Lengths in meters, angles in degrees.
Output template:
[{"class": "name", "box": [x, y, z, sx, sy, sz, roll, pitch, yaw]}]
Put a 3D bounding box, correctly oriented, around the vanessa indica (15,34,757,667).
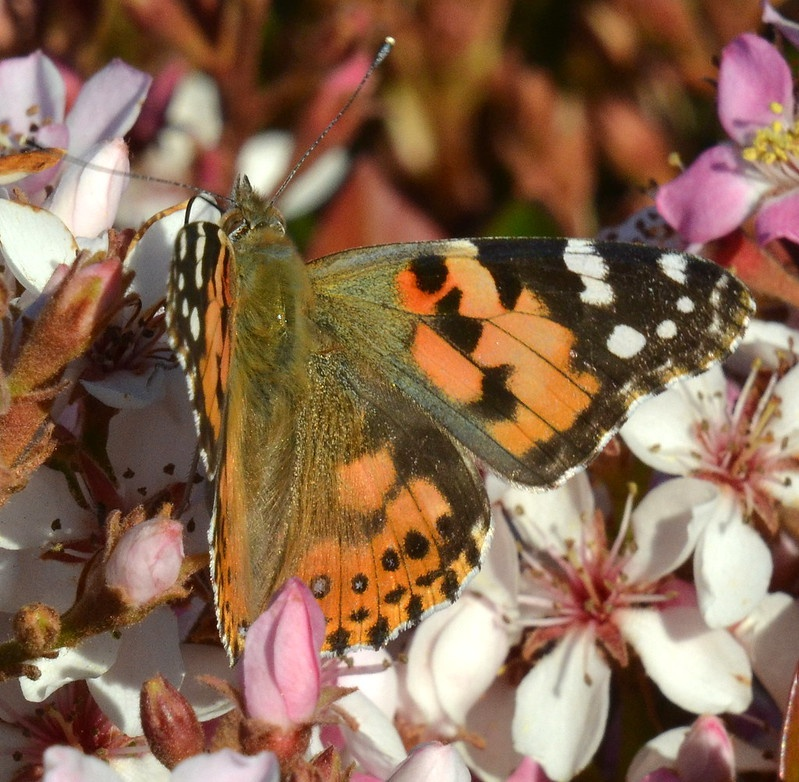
[{"class": "vanessa indica", "box": [-0.014, 0.040, 0.961, 0.244, 0.515, 0.435, -15, 72, 46]}]
